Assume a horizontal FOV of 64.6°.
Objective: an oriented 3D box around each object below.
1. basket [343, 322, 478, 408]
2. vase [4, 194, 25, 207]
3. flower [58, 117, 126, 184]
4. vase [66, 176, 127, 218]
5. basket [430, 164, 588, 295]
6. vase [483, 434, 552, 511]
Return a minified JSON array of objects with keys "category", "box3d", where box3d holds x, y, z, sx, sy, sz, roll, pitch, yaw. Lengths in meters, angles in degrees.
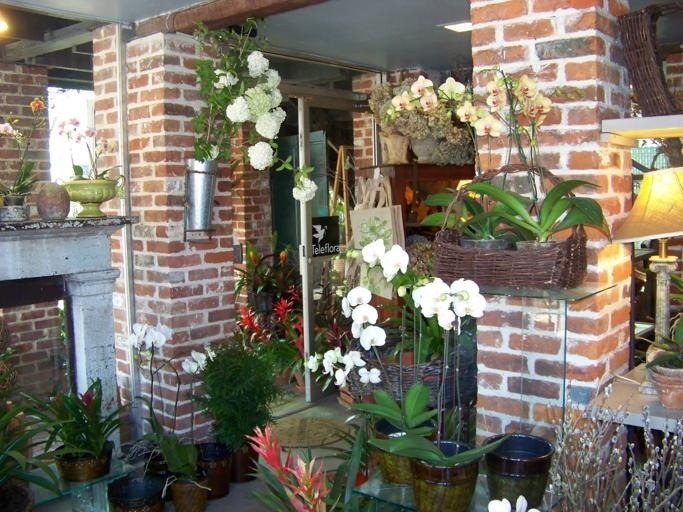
[{"category":"basket","box3d":[0.255,0.419,2.008,0.463,0.179,0.381,0,0,-28]},{"category":"vase","box3d":[-1.635,-0.278,2.705,0.074,0.051,0.072,2,-4,-14]},{"category":"flower","box3d":[-1.477,-0.572,3.166,0.310,0.363,0.293,-1,1,-11]},{"category":"vase","box3d":[-1.381,-0.352,3.048,0.307,0.201,0.215,2,10,3]},{"category":"basket","box3d":[0.570,-0.088,2.029,0.607,0.513,0.384,-1,5,16]},{"category":"vase","box3d":[0.494,0.565,1.527,0.193,0.152,0.202,1,1,38]}]
